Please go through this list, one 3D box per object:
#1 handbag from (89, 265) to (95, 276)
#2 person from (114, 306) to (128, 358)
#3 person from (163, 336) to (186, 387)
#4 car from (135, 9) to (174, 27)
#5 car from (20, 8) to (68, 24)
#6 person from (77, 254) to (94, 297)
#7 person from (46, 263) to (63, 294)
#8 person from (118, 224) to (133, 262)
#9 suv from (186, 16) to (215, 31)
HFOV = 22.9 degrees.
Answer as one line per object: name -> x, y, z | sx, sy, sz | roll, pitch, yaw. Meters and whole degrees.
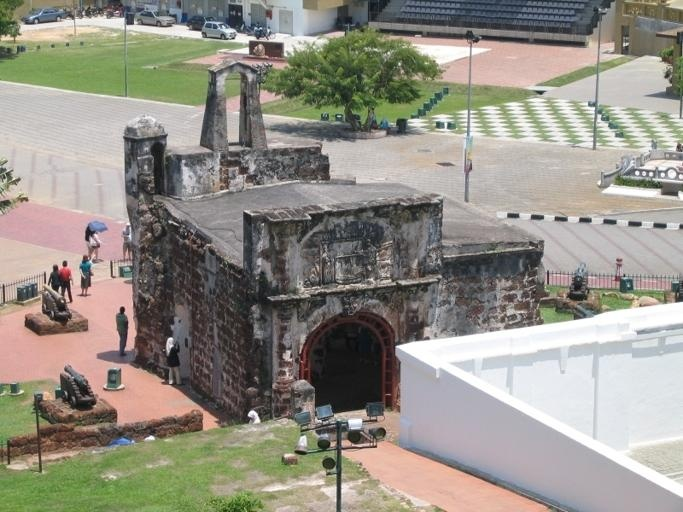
handbag -> -10.513, 0.628, 70.918 | 0.230, 0.429, 0.247 | -2, -1, 9
person -> -8.368, 2.740, 64.015 | 0.425, 1.916, 1.074 | 0, 15, -8
person -> -6.206, 3.820, 62.066 | 0.571, 1.739, 0.671 | 0, 14, -6
car -> -14.588, -18.561, 131.117 | 2.552, 0.869, 1.318 | 10, 17, 34
car -> -23.129, -18.814, 131.670 | 1.280, 0.918, 3.094 | 10, 14, 43
person -> -10.408, 0.680, 68.502 | 0.407, 1.776, 1.384 | -1, 15, -11
person -> -11.486, 0.836, 67.340 | 0.499, 1.246, 1.043 | -1, 15, -10
person -> -9.187, -0.602, 72.009 | 0.331, 1.549, 0.890 | -1, 15, -12
suv -> -10.904, -17.714, 128.110 | 1.943, 0.831, 1.018 | -2, 23, 23
